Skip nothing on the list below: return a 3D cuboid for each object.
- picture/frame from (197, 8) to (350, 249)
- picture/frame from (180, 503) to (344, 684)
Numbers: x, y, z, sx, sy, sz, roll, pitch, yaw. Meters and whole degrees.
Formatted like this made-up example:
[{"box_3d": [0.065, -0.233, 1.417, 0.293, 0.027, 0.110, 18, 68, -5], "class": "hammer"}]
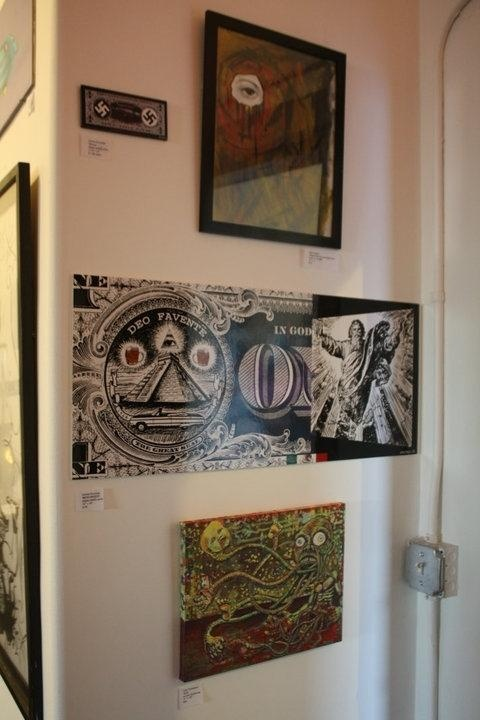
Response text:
[{"box_3d": [0.074, -0.610, 1.510, 0.545, 0.857, 0.030, 1, 0, -41], "class": "picture/frame"}, {"box_3d": [0.041, 0.602, 1.469, 0.418, 0.447, 0.020, -3, 5, -33], "class": "picture/frame"}]
